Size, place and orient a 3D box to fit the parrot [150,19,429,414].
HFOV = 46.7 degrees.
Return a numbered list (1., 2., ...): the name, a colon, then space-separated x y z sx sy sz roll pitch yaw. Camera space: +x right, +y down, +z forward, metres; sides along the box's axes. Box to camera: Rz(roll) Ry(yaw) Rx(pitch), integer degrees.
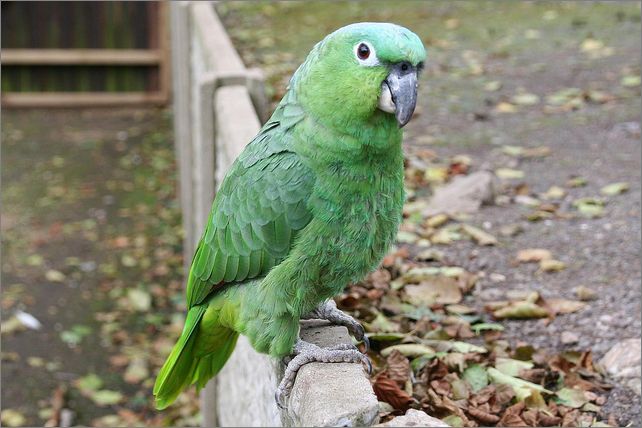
1. parrot: -0.141 0.079 3.269 1.151 1.732 0.558 3 26 20
